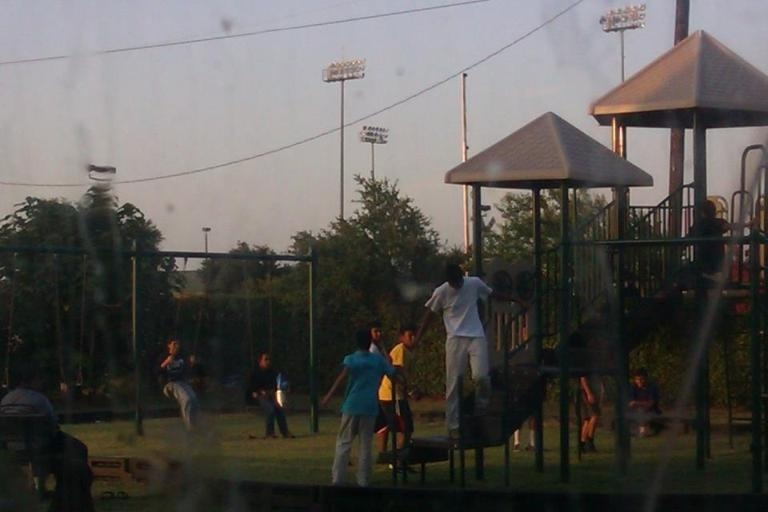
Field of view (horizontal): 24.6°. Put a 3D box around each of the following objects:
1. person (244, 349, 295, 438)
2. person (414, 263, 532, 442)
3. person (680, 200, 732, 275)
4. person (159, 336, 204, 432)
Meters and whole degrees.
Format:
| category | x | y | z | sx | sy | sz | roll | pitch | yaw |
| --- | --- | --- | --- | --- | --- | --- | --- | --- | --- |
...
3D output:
| category | x | y | z | sx | sy | sz | roll | pitch | yaw |
| --- | --- | --- | --- | --- | --- | --- | --- | --- | --- |
| person | -1.869 | 2.165 | 28.034 | 0.586 | 1.391 | 0.765 | -5 | 0 | -10 |
| person | 1.115 | 1.288 | 24.644 | 0.902 | 2.542 | 0.882 | 0 | -1 | -1 |
| person | 4.691 | -0.273 | 25.421 | 0.538 | 1.164 | 0.515 | 0 | 1 | 30 |
| person | -3.207 | 1.932 | 27.674 | 0.534 | 1.458 | 0.651 | 2 | 0 | 11 |
